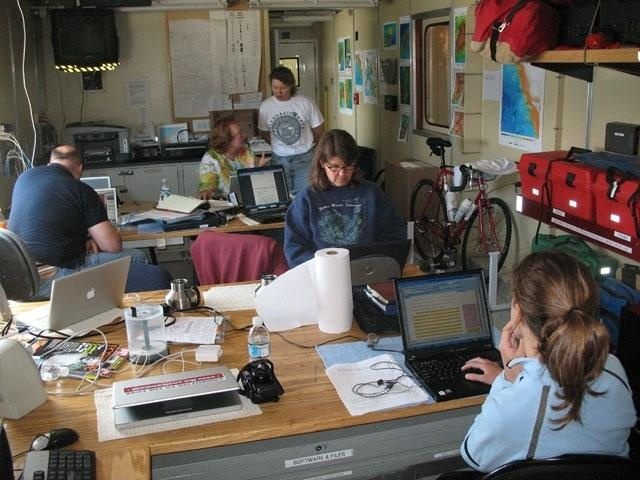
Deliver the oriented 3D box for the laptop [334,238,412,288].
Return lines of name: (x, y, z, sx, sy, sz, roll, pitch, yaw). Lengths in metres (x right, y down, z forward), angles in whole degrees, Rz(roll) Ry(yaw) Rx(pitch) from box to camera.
laptop: (0.290, 0.112, 2.614, 0.305, 0.191, 0.238, -4, 15, -14)

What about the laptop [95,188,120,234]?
laptop: (-1.756, -0.281, 4.281, 0.227, 0.434, 0.309, -6, -1, -25)

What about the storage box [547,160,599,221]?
storage box: (1.301, -0.255, 2.708, 0.239, 0.262, 0.382, -4, 14, -5)

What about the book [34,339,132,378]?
book: (-1.032, 0.511, 2.263, 0.202, 0.022, 0.177, 11, 24, 2)

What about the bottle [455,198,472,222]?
bottle: (1.302, -0.259, 4.716, 0.155, 0.209, 0.111, 1, 17, 17)

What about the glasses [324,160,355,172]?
glasses: (0.112, -0.438, 3.135, 0.169, 0.065, 0.072, -5, 16, -2)

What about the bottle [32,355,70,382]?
bottle: (-1.131, 0.538, 2.176, 0.117, 0.024, 0.116, 12, 25, -5)

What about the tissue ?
tissue : (-0.057, 0.256, 2.462, 0.341, 0.288, 0.125, -6, 28, -14)

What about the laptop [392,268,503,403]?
laptop: (0.518, 0.341, 2.268, 0.453, 0.476, 0.344, -4, 15, -19)

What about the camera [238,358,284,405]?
camera: (-0.235, 0.533, 2.029, 0.138, 0.069, 0.161, -9, 38, -29)

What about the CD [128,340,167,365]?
CD: (-0.746, 0.488, 2.261, 0.107, 0.026, 0.110, 1, 17, -1)

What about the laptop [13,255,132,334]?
laptop: (-1.206, 0.201, 2.503, 0.401, 0.265, 0.429, 13, 19, 24)

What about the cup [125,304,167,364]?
cup: (-0.731, 0.389, 2.350, 0.217, 0.237, 0.227, -1, 12, 0)

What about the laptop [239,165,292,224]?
laptop: (-0.490, -0.407, 4.522, 0.546, 0.414, 0.465, -7, 21, -19)

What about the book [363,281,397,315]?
book: (0.293, 0.281, 2.525, 0.157, 0.037, 0.157, -10, 25, -29)
